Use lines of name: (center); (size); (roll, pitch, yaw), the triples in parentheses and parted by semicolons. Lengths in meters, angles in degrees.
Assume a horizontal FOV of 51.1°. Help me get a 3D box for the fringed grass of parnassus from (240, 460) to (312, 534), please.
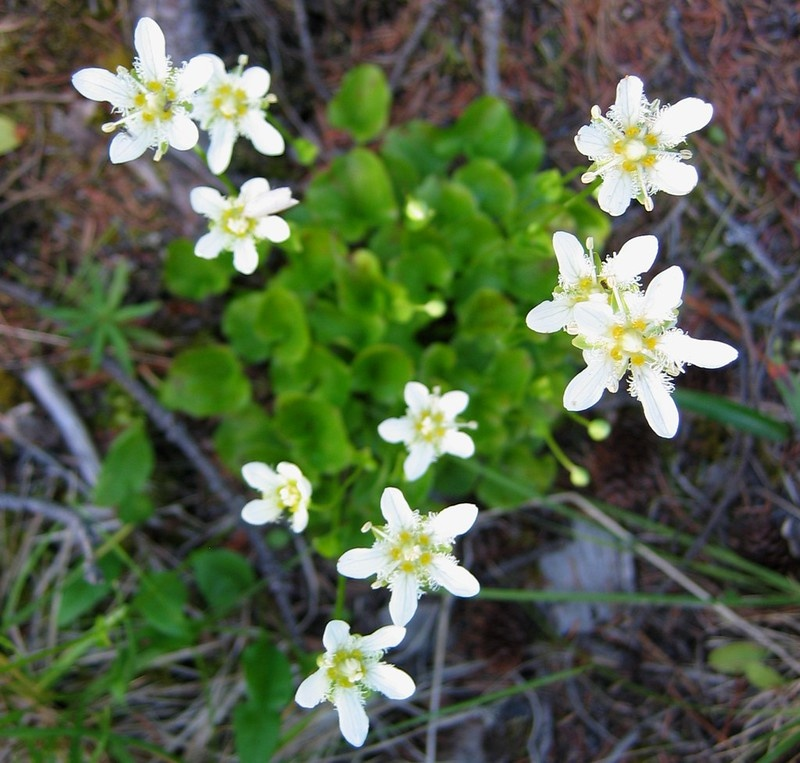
fringed grass of parnassus: (-0.370, 0.342, 2.613); (0.243, 0.130, 0.217); (-6, 90, -2)

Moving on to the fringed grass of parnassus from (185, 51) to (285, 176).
fringed grass of parnassus: (-0.502, -0.831, 2.460); (0.127, 0.324, 0.276); (35, 97, 25)

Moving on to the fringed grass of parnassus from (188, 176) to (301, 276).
fringed grass of parnassus: (-0.496, -0.497, 2.528); (0.316, 0.282, 0.098); (-13, 74, 21)

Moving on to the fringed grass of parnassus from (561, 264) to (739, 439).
fringed grass of parnassus: (0.698, -0.008, 2.677); (0.495, 0.761, 0.442); (-29, 82, -3)

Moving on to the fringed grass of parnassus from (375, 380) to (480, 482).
fringed grass of parnassus: (0.086, 0.139, 2.641); (0.280, 0.277, 0.272); (-25, 81, -3)

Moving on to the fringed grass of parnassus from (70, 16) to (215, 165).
fringed grass of parnassus: (-0.706, -0.830, 2.509); (0.428, 0.447, 0.189); (-31, 60, -31)

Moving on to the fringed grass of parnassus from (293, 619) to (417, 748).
fringed grass of parnassus: (-0.133, 0.859, 2.438); (0.438, 0.181, 0.339); (2, 96, -16)

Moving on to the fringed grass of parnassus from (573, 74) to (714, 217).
fringed grass of parnassus: (0.724, -0.711, 2.517); (0.455, 0.388, 0.155); (28, 76, 2)
